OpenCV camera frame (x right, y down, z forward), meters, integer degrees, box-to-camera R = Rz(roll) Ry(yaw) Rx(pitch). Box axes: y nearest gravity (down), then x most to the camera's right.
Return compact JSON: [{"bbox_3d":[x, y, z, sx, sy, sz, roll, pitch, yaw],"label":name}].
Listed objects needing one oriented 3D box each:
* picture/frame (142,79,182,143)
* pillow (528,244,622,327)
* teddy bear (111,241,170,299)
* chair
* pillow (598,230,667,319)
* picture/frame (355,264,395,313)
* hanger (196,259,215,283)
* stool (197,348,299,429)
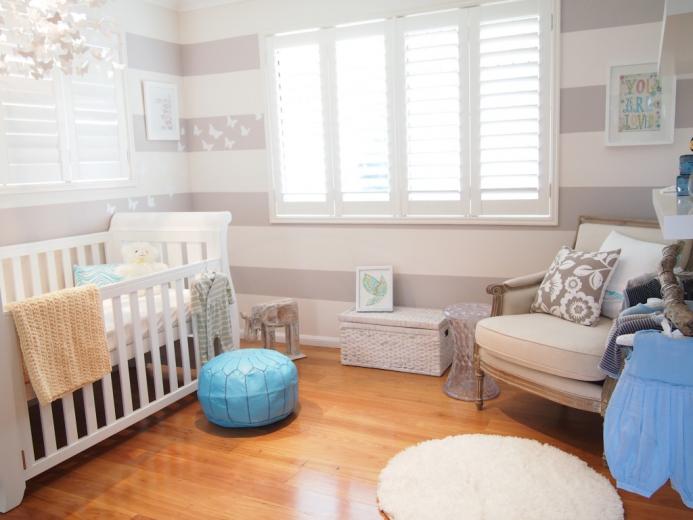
[{"bbox_3d":[-1.449,-1.186,3.884,0.388,0.471,0.043,11,19,27],"label":"picture/frame"},{"bbox_3d":[1.261,0.126,2.654,0.118,0.397,0.388,24,-5,-22],"label":"pillow"},{"bbox_3d":[-1.291,0.071,3.081,0.328,0.334,0.182,-5,-8,-18],"label":"teddy bear"},{"bbox_3d":[1.486,0.250,2.606,1.142,1.271,0.883,-4,6,-39],"label":"chair"},{"bbox_3d":[1.649,0.110,2.688,0.141,0.451,0.459,13,1,-14],"label":"pillow"},{"bbox_3d":[0.209,0.216,3.586,0.332,0.410,0.033,0,-14,1],"label":"picture/frame"},{"bbox_3d":[-0.888,0.076,3.074,0.021,0.220,0.124,4,6,33],"label":"hanger"},{"bbox_3d":[-0.533,0.671,2.735,0.443,0.294,0.464,5,6,37],"label":"stool"}]
